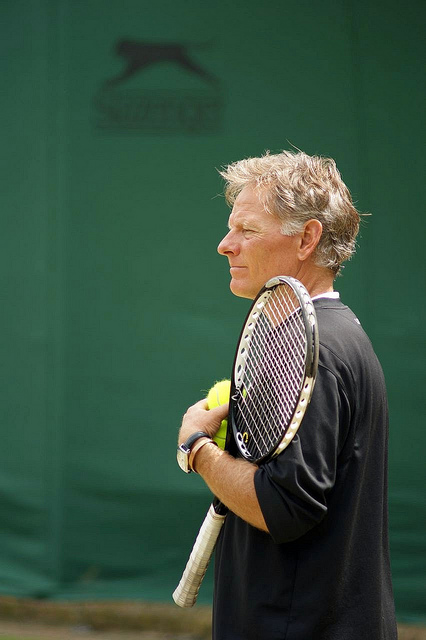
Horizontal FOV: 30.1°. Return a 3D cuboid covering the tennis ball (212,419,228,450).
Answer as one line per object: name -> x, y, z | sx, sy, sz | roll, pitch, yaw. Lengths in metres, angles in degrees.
tennis ball -> 0.025, 0.339, 2.337 | 0.067, 0.078, 0.083 | 2, -4, 10

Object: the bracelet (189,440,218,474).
bracelet -> -0.036, 0.367, 2.161 | 0.081, 0.083, 0.051 | -12, -32, 29

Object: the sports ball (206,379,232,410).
sports ball -> 0.019, 0.226, 2.488 | 0.100, 0.092, 0.100 | 0, 6, 0
